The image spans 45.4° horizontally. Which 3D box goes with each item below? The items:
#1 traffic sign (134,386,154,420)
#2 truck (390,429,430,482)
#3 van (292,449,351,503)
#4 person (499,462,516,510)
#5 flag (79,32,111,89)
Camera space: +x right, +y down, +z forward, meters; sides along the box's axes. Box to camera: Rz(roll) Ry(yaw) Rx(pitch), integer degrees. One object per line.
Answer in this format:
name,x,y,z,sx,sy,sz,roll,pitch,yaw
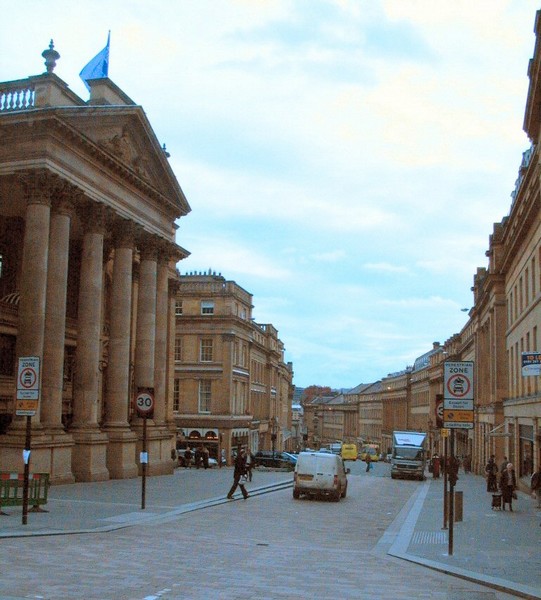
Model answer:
traffic sign,-3.775,3.081,19.518,0.483,1.024,1.631,2,-12,-13
truck,10.543,11.572,48.374,2.065,2.487,4.466,0,-14,9
van,2.087,6.778,25.411,1.481,1.260,2.511,-1,-2,15
person,8.672,6.746,23.435,0.530,1.624,2.928,-4,-12,18
flag,-8.593,-12.220,32.412,1.791,0.379,4.082,-14,-16,-29
